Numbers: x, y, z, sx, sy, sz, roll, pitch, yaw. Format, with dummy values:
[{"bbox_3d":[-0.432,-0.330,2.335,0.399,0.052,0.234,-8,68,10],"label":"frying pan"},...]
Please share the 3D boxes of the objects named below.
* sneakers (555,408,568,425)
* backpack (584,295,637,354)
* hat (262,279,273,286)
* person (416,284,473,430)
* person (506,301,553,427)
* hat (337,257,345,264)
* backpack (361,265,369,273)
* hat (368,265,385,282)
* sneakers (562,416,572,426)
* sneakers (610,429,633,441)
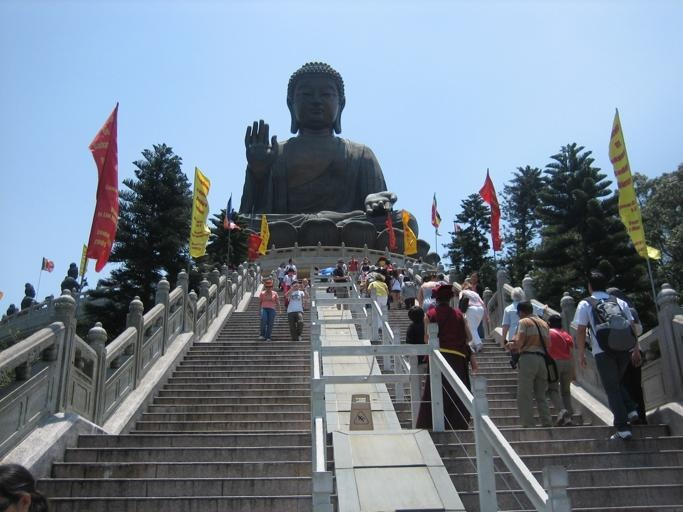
[{"bbox_3d":[2.697,1.964,5.767,0.165,0.189,0.087,1,-12,-18],"label":"sneakers"},{"bbox_3d":[3.102,0.797,5.436,0.402,0.719,0.376,-7,-14,6],"label":"backpack"},{"bbox_3d":[-1.734,0.625,11.027,0.282,0.154,0.438,2,2,-5],"label":"hat"},{"bbox_3d":[1.252,1.058,5.505,0.600,1.571,0.388,6,17,32],"label":"person"},{"bbox_3d":[2.294,1.391,5.694,0.440,1.285,0.327,-2,-12,-3],"label":"person"},{"bbox_3d":[-0.083,0.159,17.987,0.182,0.259,0.237,-5,-9,11],"label":"hat"},{"bbox_3d":[0.904,0.484,18.377,0.216,0.204,0.222,0,-4,13],"label":"backpack"},{"bbox_3d":[0.936,0.529,12.732,0.314,0.516,0.469,2,21,-2],"label":"hat"},{"bbox_3d":[2.769,2.033,5.798,0.125,0.123,0.113,6,-30,24],"label":"sneakers"},{"bbox_3d":[3.080,1.977,5.223,0.218,0.113,0.158,-11,-15,29],"label":"sneakers"}]
